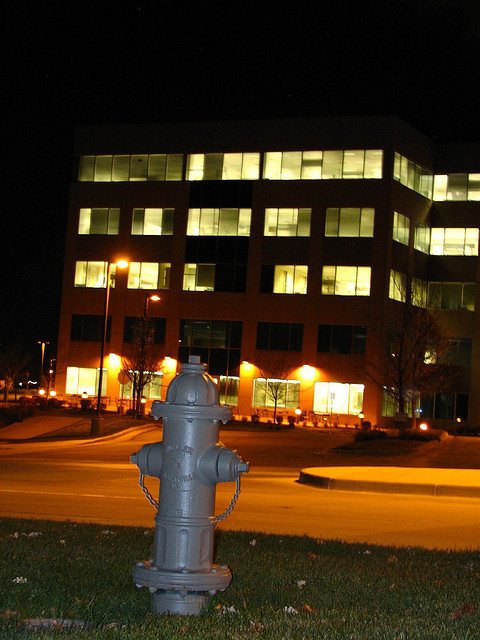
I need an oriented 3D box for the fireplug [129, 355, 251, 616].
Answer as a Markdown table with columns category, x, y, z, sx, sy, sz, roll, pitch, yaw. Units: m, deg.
| category | x | y | z | sx | sy | sz | roll | pitch | yaw |
| --- | --- | --- | --- | --- | --- | --- | --- | --- | --- |
| fireplug | -0.338 | 1.069 | 4.252 | 0.654 | 1.653 | 0.395 | 4 | -8 | -10 |
